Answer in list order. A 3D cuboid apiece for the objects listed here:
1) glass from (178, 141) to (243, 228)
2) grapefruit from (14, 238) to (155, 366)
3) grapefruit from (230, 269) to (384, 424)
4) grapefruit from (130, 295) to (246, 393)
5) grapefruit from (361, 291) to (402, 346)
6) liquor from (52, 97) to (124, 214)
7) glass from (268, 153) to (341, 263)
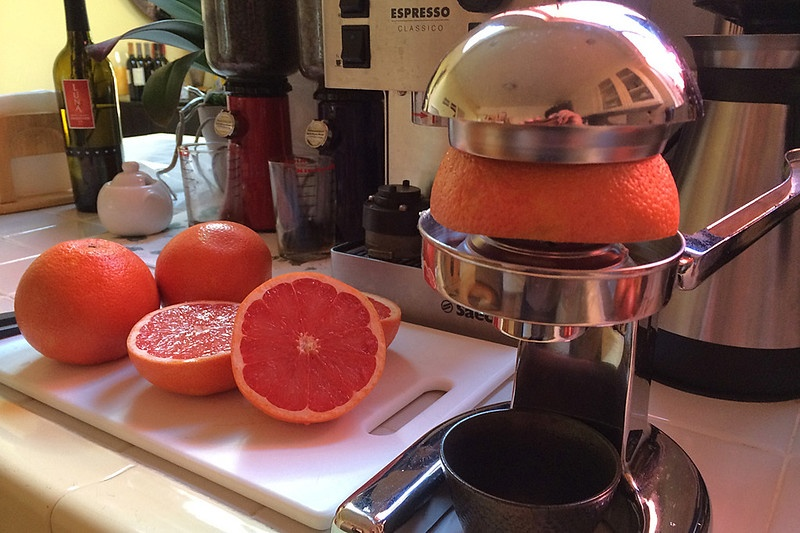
[{"bbox_3d":[-0.335,-0.171,1.132,0.109,0.170,0.169,2,33,-3],"label":"glass"},{"bbox_3d":[-0.354,0.042,0.704,0.152,0.133,0.155,15,17,42],"label":"grapefruit"},{"bbox_3d":[-0.091,0.078,0.614,0.150,0.105,0.128,-1,21,-3],"label":"grapefruit"},{"bbox_3d":[-0.232,0.089,0.654,0.107,0.062,0.131,-4,21,-10],"label":"grapefruit"},{"bbox_3d":[-0.028,0.055,0.686,0.057,0.035,0.055,-9,23,-27],"label":"grapefruit"},{"bbox_3d":[-0.604,-0.217,1.181,0.128,0.210,0.099,-2,22,-4],"label":"liquor"},{"bbox_3d":[-0.160,-0.092,0.954,0.095,0.156,0.082,9,24,22],"label":"glass"}]
